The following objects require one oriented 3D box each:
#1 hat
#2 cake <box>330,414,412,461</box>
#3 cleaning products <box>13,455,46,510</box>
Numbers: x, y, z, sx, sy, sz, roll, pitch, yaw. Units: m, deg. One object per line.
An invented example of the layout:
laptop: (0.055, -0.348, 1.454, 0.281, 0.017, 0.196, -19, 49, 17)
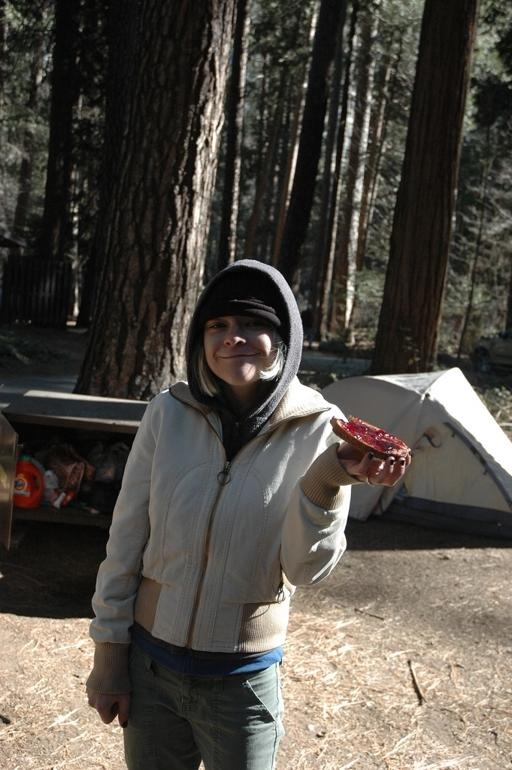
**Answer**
hat: (-0.034, -0.219, 1.648, 0.153, 0.138, 0.173, 0, -28, 7)
cake: (0.230, 0.107, 1.408, 0.095, 0.028, 0.117, 3, 27, -44)
cleaning products: (-1.659, 0.706, 4.958, 0.185, 0.374, 0.146, 6, 5, -9)
